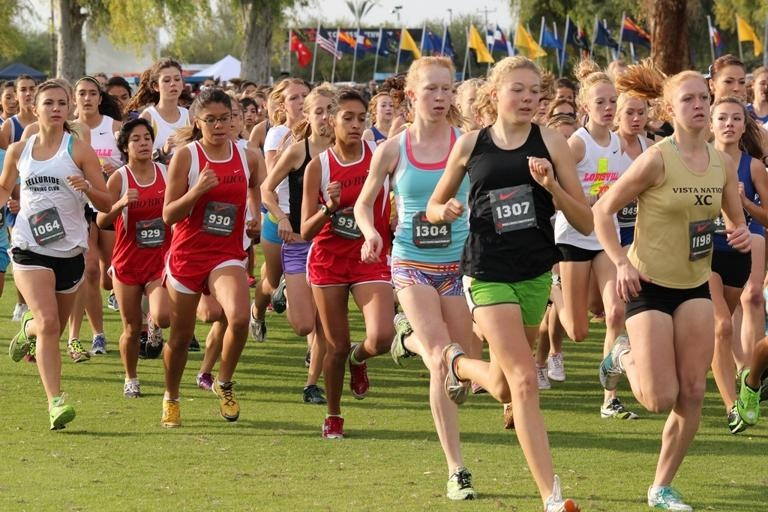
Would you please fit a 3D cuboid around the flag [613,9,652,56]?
[{"bbox_3d":[7.882,-6.962,32.441,1.066,1.181,0.108,9,-19,-3],"label":"flag"}]

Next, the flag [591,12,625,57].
[{"bbox_3d":[7.851,-8.040,36.743,0.047,1.482,2.077,17,32,39],"label":"flag"}]

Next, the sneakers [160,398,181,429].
[{"bbox_3d":[-1.780,1.330,8.794,0.108,0.128,0.303,7,3,-19],"label":"sneakers"}]

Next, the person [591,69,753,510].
[{"bbox_3d":[1.983,0.184,7.449,0.848,2.974,0.899,6,9,36],"label":"person"}]

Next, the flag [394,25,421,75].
[{"bbox_3d":[0.812,-6.187,32.961,0.769,2.355,0.217,1,-21,13],"label":"flag"}]

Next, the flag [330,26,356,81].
[{"bbox_3d":[-1.356,-6.855,36.186,0.820,3.055,0.230,8,-40,-8],"label":"flag"}]

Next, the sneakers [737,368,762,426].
[{"bbox_3d":[2.929,1.122,8.486,0.160,0.471,0.217,-1,1,3],"label":"sneakers"}]

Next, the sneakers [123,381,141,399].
[{"bbox_3d":[-2.301,1.209,9.635,0.168,0.134,0.213,-1,9,-14],"label":"sneakers"}]

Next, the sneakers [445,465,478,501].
[{"bbox_3d":[0.561,1.608,7.451,0.203,0.208,0.421,4,2,-8],"label":"sneakers"}]

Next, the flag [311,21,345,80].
[{"bbox_3d":[-1.892,-6.751,35.776,0.951,2.666,0.185,9,-18,-11],"label":"flag"}]

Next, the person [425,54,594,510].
[{"bbox_3d":[0.838,0.141,7.036,1.062,2.938,0.807,3,8,13],"label":"person"}]

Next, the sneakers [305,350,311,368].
[{"bbox_3d":[-0.775,1.065,10.803,0.062,0.192,0.091,0,-19,13],"label":"sneakers"}]

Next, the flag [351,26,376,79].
[{"bbox_3d":[-0.528,-7.413,38.925,0.954,0.348,2.775,17,-29,10],"label":"flag"}]

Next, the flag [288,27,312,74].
[{"bbox_3d":[-2.701,-6.672,33.848,0.522,0.127,1.484,-4,-37,15],"label":"flag"}]

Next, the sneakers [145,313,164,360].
[{"bbox_3d":[-2.318,0.775,10.637,0.177,0.540,0.215,4,-37,-25],"label":"sneakers"}]

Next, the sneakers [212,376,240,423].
[{"bbox_3d":[-1.363,1.264,9.037,0.153,0.429,0.166,-12,-21,-40],"label":"sneakers"}]

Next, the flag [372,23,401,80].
[{"bbox_3d":[0.180,-6.899,37.861,0.965,3.877,0.216,5,-34,2],"label":"flag"}]

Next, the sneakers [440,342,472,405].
[{"bbox_3d":[0.506,0.814,7.370,0.150,0.442,0.175,-2,-5,4],"label":"sneakers"}]

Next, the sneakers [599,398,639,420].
[{"bbox_3d":[2.061,1.351,9.267,0.377,0.167,0.139,0,0,27],"label":"sneakers"}]

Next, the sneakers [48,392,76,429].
[{"bbox_3d":[-2.604,1.331,8.480,0.168,0.193,0.398,28,0,-17],"label":"sneakers"}]

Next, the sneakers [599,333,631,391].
[{"bbox_3d":[1.722,0.780,7.798,0.169,0.197,0.488,-18,-38,-27],"label":"sneakers"}]

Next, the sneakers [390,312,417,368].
[{"bbox_3d":[0.141,0.694,8.230,0.155,0.453,0.213,22,30,8],"label":"sneakers"}]

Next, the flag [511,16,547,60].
[{"bbox_3d":[4.562,-7.034,34.078,0.818,0.189,2.177,14,-19,32],"label":"flag"}]

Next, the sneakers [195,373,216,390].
[{"bbox_3d":[-1.680,1.179,9.900,0.129,0.113,0.247,0,3,-31],"label":"sneakers"}]

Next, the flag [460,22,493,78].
[{"bbox_3d":[2.910,-6.672,33.978,1.006,2.269,0.885,-6,-23,13],"label":"flag"}]

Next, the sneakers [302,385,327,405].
[{"bbox_3d":[-0.641,1.282,9.671,0.105,0.125,0.270,1,-2,-34],"label":"sneakers"}]

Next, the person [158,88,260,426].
[{"bbox_3d":[-1.469,0.036,8.692,0.749,2.818,0.625,-1,8,-11],"label":"person"}]

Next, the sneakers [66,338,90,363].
[{"bbox_3d":[-3.086,0.963,10.672,0.126,0.153,0.337,-12,14,-32],"label":"sneakers"}]
